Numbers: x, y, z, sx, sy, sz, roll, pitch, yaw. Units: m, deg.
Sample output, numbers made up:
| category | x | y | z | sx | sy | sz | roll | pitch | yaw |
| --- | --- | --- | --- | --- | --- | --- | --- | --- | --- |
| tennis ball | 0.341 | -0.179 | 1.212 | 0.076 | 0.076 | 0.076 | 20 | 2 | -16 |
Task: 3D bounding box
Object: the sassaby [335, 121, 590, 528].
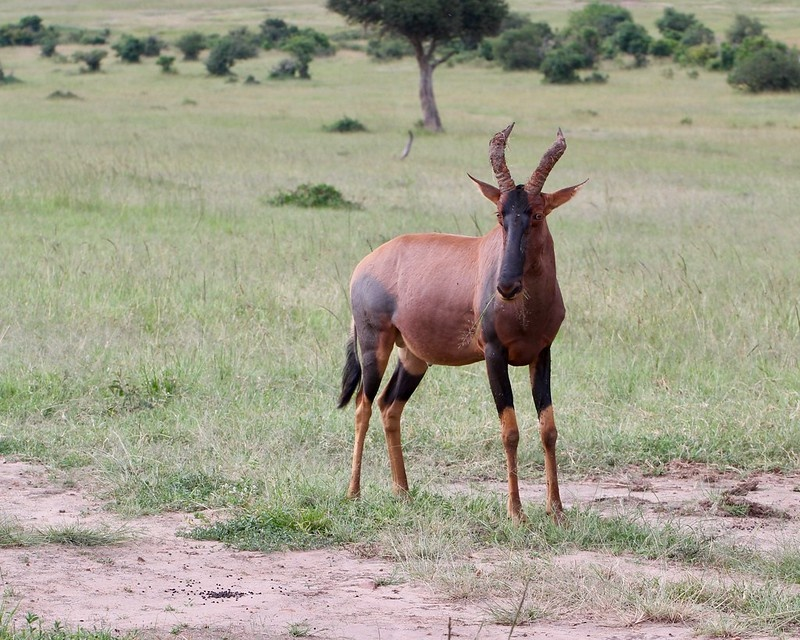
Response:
| category | x | y | z | sx | sy | sz | roll | pitch | yaw |
| --- | --- | --- | --- | --- | --- | --- | --- | --- | --- |
| sassaby | 0.653 | -0.043 | 16.056 | 2.616 | 4.174 | 0.990 | 5 | 12 | 25 |
